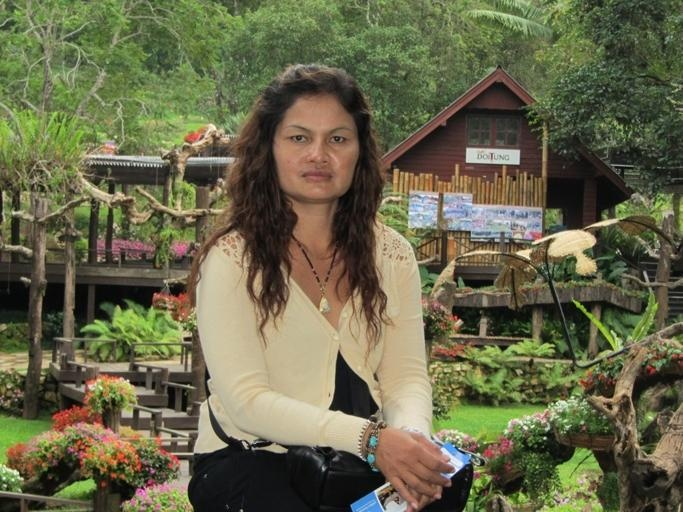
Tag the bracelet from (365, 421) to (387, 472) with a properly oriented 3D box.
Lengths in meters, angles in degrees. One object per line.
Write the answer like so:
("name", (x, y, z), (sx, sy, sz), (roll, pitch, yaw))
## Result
("bracelet", (0.444, 2.612, 13.735), (0.225, 0.570, 0.428), (3, -3, 12))
